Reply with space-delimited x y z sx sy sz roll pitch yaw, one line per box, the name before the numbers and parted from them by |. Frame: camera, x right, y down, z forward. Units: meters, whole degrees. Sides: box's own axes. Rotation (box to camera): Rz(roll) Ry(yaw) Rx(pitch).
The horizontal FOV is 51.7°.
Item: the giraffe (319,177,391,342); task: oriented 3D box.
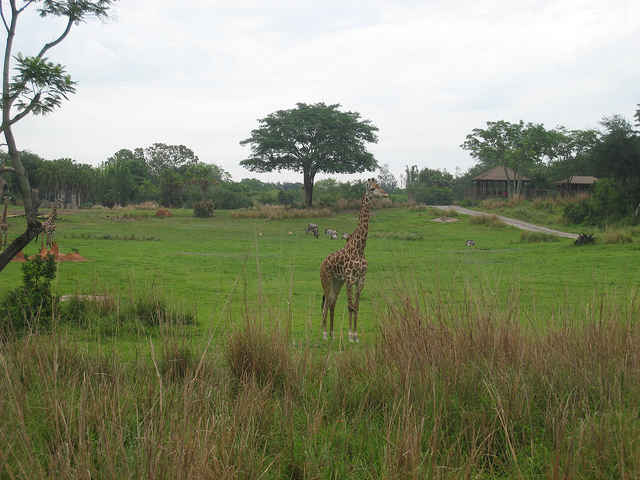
giraffe | 0.518 0.230 11.145 1.013 2.686 3.052 1 2 1
